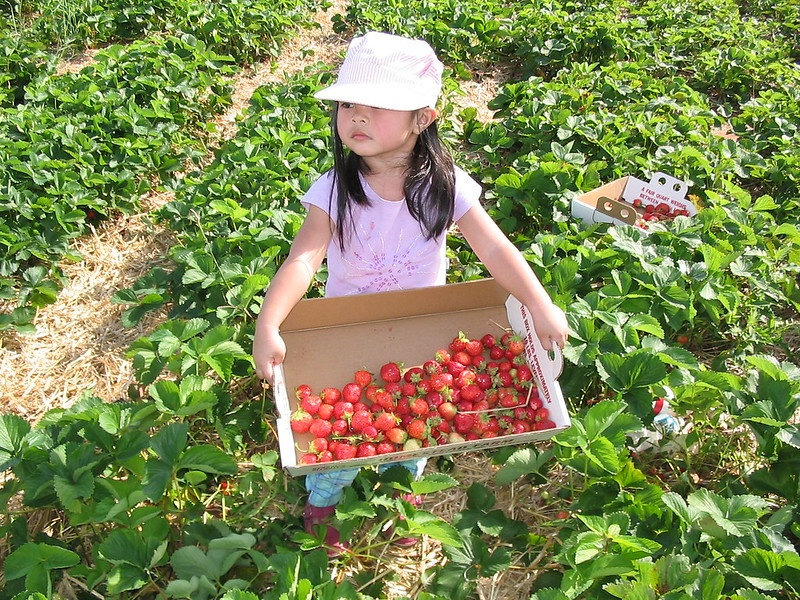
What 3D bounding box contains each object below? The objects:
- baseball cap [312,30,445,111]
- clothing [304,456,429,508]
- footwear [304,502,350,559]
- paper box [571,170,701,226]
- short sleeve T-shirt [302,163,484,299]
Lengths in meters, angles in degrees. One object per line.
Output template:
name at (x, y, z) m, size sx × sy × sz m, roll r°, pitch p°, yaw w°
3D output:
baseball cap at (-0.072, -1.121, 3.095) m, size 0.547 × 0.266 × 0.433 m, roll -8°, pitch 24°, yaw -43°
clothing at (-0.137, 0.993, 3.374) m, size 0.689 × 0.175 × 0.193 m, roll 10°, pitch 2°, yaw -17°
footwear at (-0.446, 1.256, 3.486) m, size 0.180 × 0.199 × 0.305 m, roll -1°, pitch -9°, yaw -26°
paper box at (1.903, -0.767, 4.948) m, size 0.694 × 0.420 × 0.649 m, roll -36°, pitch 48°, yaw -28°
short sleeve T-shirt at (-0.063, -0.381, 3.498) m, size 0.913 × 0.799 × 0.463 m, roll 1°, pitch 38°, yaw -4°
